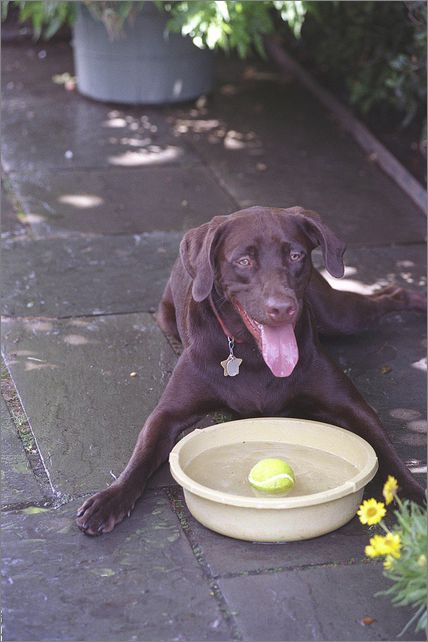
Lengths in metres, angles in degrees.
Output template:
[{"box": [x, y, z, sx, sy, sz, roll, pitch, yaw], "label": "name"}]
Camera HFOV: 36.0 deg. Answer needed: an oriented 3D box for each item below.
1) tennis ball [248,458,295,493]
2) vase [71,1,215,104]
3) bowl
[{"box": [0.180, 0.526, 2.334, 0.180, 0.097, 0.173, 0, 20, 0], "label": "tennis ball"}, {"box": [-0.820, -2.907, 7.192, 1.244, 1.076, 1.184, -13, 31, -17], "label": "vase"}, {"box": [0.199, 0.505, 2.339, 0.709, 0.289, 0.650, 4, 29, -2], "label": "bowl"}]
